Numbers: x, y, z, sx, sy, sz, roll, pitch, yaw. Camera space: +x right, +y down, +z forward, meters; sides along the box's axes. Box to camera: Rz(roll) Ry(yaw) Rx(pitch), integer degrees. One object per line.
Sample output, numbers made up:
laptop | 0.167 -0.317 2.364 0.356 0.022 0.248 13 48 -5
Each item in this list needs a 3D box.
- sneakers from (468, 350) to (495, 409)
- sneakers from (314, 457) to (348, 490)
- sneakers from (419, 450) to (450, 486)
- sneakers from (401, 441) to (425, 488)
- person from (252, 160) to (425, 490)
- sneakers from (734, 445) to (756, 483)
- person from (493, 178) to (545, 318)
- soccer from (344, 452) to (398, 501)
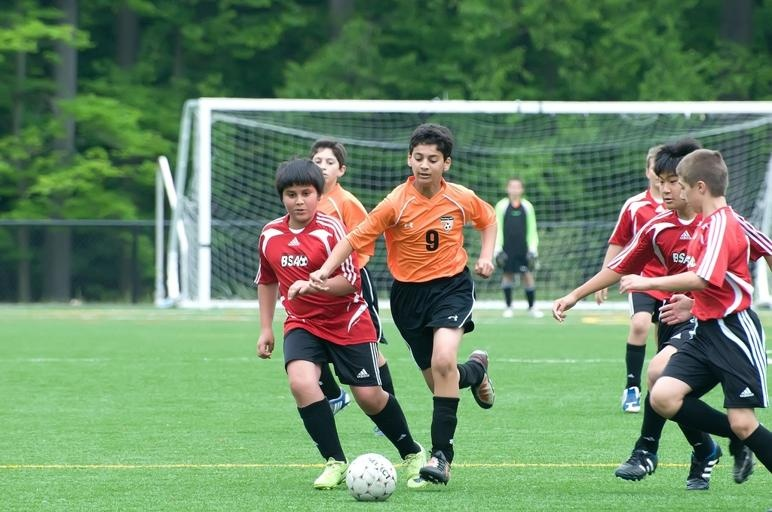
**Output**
sneakers | 1.001 1.314 11.893 0.225 0.643 0.280 -5 21 28
sneakers | -0.514 2.068 10.874 0.165 0.215 0.460 12 22 41
sneakers | 0.453 2.027 10.883 0.270 0.342 0.271 1 14 2
sneakers | 0.263 2.020 11.109 0.155 0.434 0.195 -5 -26 16
person | -0.556 0.623 11.047 1.569 2.997 0.902 10 17 34
sneakers | 3.319 1.943 10.844 0.144 0.410 0.197 7 4 33
person | 2.148 -0.076 18.870 0.762 2.286 0.918 2 14 5
soccer | -0.147 2.062 10.717 0.462 0.378 0.233 0 14 -3
